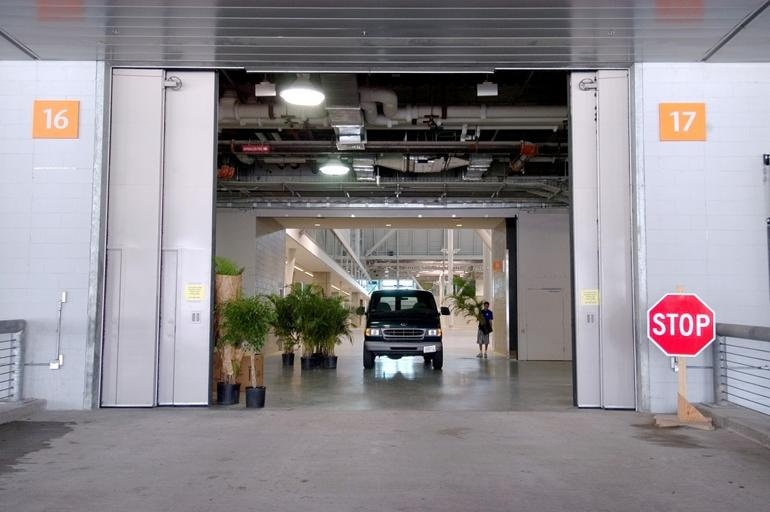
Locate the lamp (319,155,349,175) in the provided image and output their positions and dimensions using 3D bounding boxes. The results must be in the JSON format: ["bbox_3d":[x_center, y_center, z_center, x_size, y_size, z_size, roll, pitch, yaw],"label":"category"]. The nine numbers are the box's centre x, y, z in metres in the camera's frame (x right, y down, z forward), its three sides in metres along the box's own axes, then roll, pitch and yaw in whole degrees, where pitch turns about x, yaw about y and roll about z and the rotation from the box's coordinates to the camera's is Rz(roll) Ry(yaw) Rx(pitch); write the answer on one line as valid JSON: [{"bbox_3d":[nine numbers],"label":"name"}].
[{"bbox_3d":[-1.218,-2.211,16.335,0.660,0.485,0.958,0,-5,-4],"label":"lamp"}]

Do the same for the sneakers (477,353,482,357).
[{"bbox_3d":[2.821,2.948,20.315,0.152,0.153,0.392,-1,-14,3],"label":"sneakers"}]

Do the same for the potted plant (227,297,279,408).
[{"bbox_3d":[-2.289,1.570,11.359,0.815,1.798,1.307,1,-5,-12],"label":"potted plant"}]

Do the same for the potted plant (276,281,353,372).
[{"bbox_3d":[-1.850,1.732,17.246,1.897,2.106,1.419,1,-5,-14],"label":"potted plant"}]

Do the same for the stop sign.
[{"bbox_3d":[4.502,1.047,10.246,1.126,0.984,0.138,-1,-12,13],"label":"stop sign"}]

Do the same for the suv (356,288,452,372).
[{"bbox_3d":[0.498,1.739,16.338,1.985,1.938,1.403,0,-5,0],"label":"suv"}]

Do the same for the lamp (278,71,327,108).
[{"bbox_3d":[-1.453,-3.071,12.023,0.666,0.569,0.720,-1,-5,4],"label":"lamp"}]
